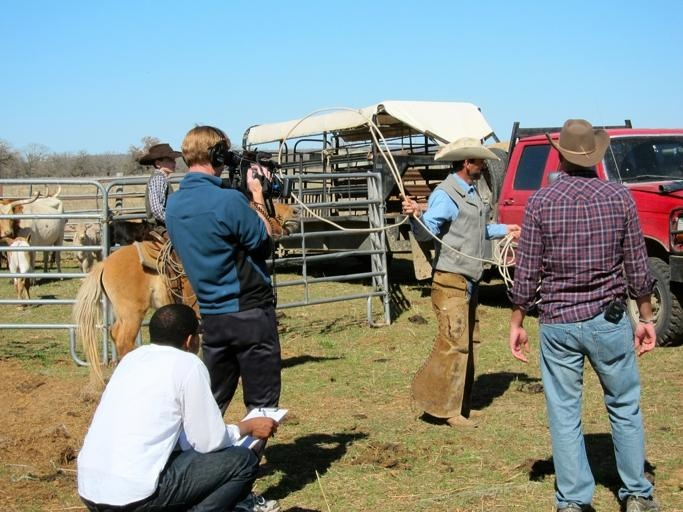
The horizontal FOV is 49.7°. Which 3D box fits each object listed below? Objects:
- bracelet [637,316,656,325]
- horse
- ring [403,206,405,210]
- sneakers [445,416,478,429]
[{"bbox_3d":[2.021,0.434,4.930,0.155,0.040,0.145,1,-2,2],"label":"bracelet"},{"bbox_3d":[-1.264,0.346,6.860,2.420,1.366,0.547,-11,-5,9],"label":"horse"},{"bbox_3d":[0.493,-0.382,5.858,0.029,0.025,0.009,1,-12,-19],"label":"ring"},{"bbox_3d":[1.033,1.436,6.323,0.222,0.079,0.110,-6,-2,23],"label":"sneakers"}]
